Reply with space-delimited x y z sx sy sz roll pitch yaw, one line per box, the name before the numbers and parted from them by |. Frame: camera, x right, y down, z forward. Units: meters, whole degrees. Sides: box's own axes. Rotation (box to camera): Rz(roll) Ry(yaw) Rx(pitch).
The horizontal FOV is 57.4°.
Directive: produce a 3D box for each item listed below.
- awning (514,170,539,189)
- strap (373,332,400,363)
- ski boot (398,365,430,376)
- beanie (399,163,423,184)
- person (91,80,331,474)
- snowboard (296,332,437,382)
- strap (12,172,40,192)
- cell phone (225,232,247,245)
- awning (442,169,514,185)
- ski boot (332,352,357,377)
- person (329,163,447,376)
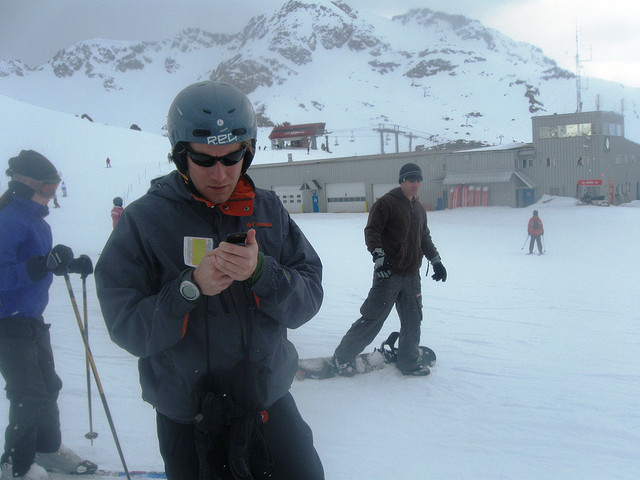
awning | 11.139 -3.345 31.648 1.101 0.932 2.037 5 9 24
strap | 0.746 1.258 6.756 0.233 0.374 0.349 3 -24 6
ski boot | 1.044 1.426 6.438 0.309 0.161 0.125 -7 -2 2
beanie | 0.984 -0.724 6.355 0.202 0.205 0.208 4 3 33
person | -0.622 0.217 3.510 1.293 2.333 0.610 1 7 0
snowboard | 0.501 1.287 6.528 1.548 0.455 0.383 0 7 -7
strap | -2.463 -0.485 4.940 0.300 0.099 0.047 27 -12 8
cell phone | -0.464 -0.008 3.229 0.067 0.014 0.124 7 -38 -20
awning | 8.541 -3.426 31.627 3.624 0.855 1.070 6 9 29
ski boot | 0.257 1.377 6.521 0.251 0.284 0.205 -1 3 -18
person | 0.793 0.332 6.345 1.279 2.317 0.463 -1 7 -19
